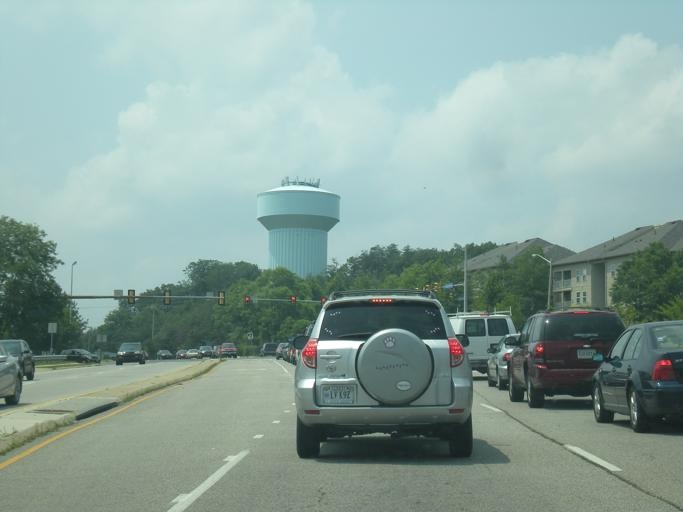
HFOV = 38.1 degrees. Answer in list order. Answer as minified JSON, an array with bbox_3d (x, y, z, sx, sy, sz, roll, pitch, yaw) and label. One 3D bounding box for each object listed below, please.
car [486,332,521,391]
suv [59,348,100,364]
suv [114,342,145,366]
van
[{"bbox_3d":[4.561,3.104,28.308,0.756,0.844,1.795,0,-4,-4],"label":"car"},{"bbox_3d":[-20.135,7.810,75.410,2.198,1.175,1.452,-5,-5,14],"label":"suv"},{"bbox_3d":[-14.460,6.850,68.295,1.155,1.182,2.272,-1,-15,-3],"label":"suv"},{"bbox_3d":[4.829,3.067,33.752,1.796,1.915,3.449,0,-1,-1],"label":"van"}]
